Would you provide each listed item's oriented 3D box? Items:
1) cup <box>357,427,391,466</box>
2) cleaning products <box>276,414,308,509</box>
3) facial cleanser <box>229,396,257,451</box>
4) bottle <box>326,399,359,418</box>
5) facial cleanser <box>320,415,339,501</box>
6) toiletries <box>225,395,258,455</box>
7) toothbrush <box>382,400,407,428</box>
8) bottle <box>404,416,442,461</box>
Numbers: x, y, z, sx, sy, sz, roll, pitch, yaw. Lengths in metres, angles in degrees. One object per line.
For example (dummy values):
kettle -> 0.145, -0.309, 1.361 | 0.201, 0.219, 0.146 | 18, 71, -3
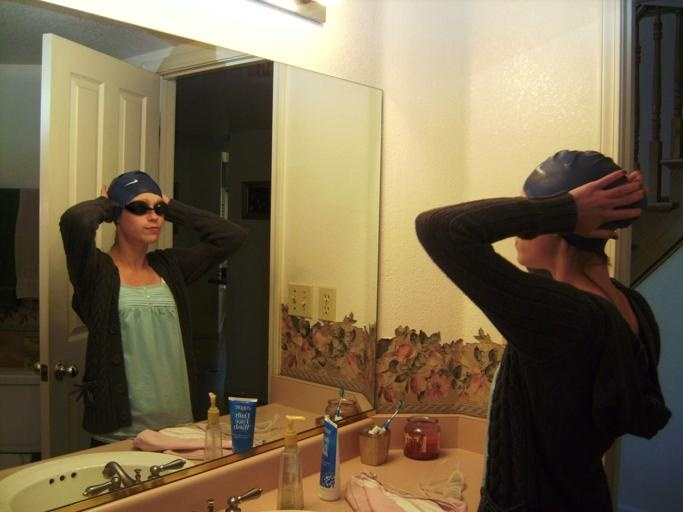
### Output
cup -> 0.101, 0.574, 1.839 | 0.081, 0.097, 0.072 | -1, -1, 31
cleaning products -> -0.132, 0.530, 1.555 | 0.063, 0.229, 0.147 | -2, 2, 2
facial cleanser -> -0.269, 0.453, 1.642 | 0.045, 0.165, 0.100 | -22, -30, 39
bottle -> 0.008, 0.464, 1.900 | 0.068, 0.041, 0.069 | 0, -9, 0
facial cleanser -> -0.033, 0.538, 1.636 | 0.055, 0.204, 0.082 | -2, 2, -4
toiletries -> -0.274, 0.457, 1.636 | 0.049, 0.184, 0.112 | -23, -31, 39
toothbrush -> 0.173, 0.507, 1.952 | 0.028, 0.113, 0.035 | 23, -26, 41
bottle -> 0.258, 0.574, 1.917 | 0.169, 0.125, 0.172 | 5, -8, 1
